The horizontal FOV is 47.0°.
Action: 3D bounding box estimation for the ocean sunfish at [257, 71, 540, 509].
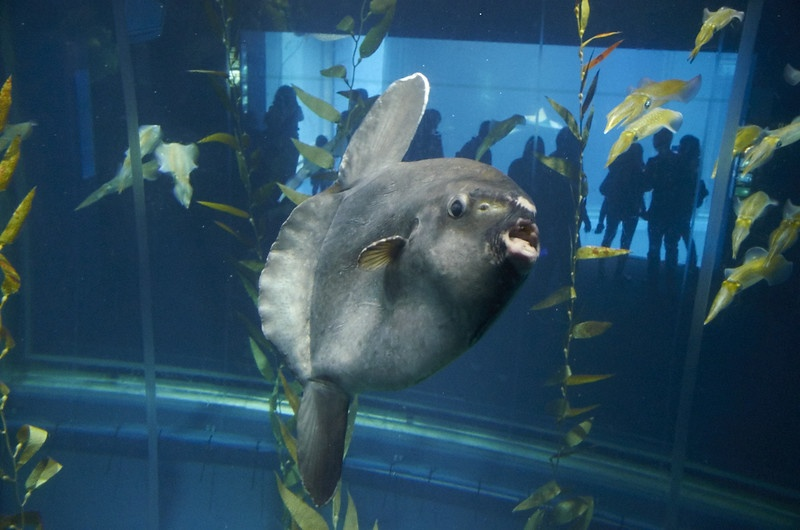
[{"bbox_3d":[0.102,-0.017,3.875,1.343,1.758,0.940,-17,-25,39],"label":"ocean sunfish"}]
